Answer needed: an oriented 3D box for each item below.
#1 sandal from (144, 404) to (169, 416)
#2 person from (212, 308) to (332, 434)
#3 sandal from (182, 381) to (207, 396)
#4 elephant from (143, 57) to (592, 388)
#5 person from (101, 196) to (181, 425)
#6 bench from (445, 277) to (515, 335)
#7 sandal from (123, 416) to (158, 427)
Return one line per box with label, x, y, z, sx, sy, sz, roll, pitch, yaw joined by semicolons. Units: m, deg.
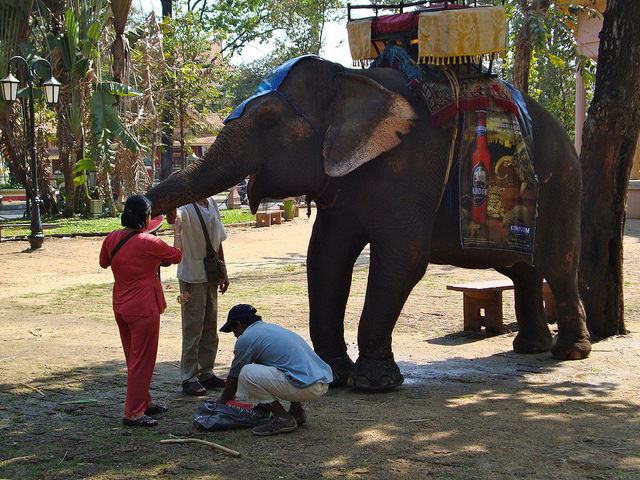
sandal;-1.508;1.582;7.450;0.202;0.072;0.070;-3;5;-29
person;-0.415;1.171;7.378;1.192;1.043;1.032;0;1;21
sandal;-1.229;1.467;7.897;0.237;0.101;0.102;0;3;38
elephant;0.710;-0.182;8.612;5.219;3.357;1.948;-2;3;-22
person;-1.579;0.621;7.209;0.669;2.035;0.510;-2;9;-15
bench;2.310;0.914;10.810;0.585;0.526;1.113;-7;-2;33
sandal;-1.597;1.615;7.173;0.280;0.084;0.101;0;2;-4
